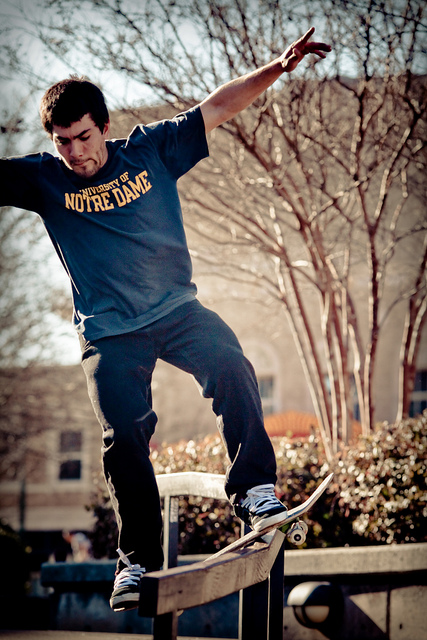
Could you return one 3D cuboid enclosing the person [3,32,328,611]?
[{"bbox_3d":[-0.355,0.051,5.061,1.396,2.697,0.400,0,-8,-3],"label":"person"}]
